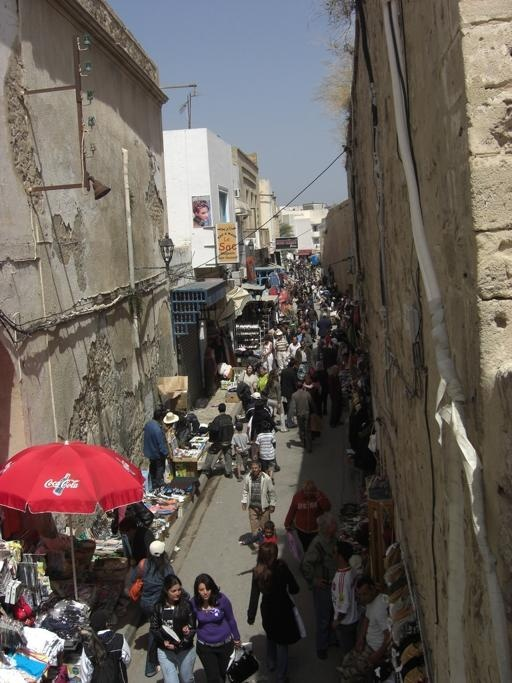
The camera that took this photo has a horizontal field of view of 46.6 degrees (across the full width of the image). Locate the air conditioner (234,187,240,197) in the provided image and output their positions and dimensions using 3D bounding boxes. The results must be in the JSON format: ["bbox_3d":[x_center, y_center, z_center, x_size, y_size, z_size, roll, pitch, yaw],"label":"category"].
[{"bbox_3d":[-0.811,-6.276,25.211,0.095,0.341,0.400,-3,5,18],"label":"air conditioner"}]

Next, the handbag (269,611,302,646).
[{"bbox_3d":[0.269,2.515,5.200,0.280,0.306,0.064,-5,4,4],"label":"handbag"}]

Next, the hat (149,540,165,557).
[{"bbox_3d":[-0.916,1.921,5.467,0.093,0.133,0.136,2,6,0],"label":"hat"}]
